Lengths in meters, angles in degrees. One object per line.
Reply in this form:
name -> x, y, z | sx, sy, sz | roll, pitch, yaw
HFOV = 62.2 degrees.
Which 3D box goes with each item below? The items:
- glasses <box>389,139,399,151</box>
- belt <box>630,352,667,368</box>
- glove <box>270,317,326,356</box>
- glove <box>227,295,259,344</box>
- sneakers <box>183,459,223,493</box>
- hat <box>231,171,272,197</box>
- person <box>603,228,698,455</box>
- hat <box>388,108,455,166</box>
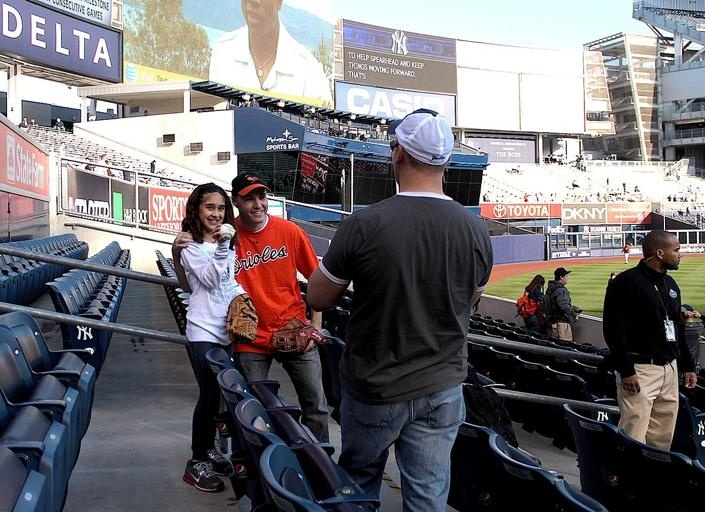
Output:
glasses -> 0.177, -0.476, 2.501 | 0.037, 0.048, 0.017 | 2, 7, 19
belt -> 1.998, 0.695, 3.942 | 0.262, 0.082, 0.032 | 1, 6, 1
glove -> -0.333, 0.454, 3.344 | 0.177, 0.105, 0.235 | 1, 3, 10
glove -> -0.609, 0.347, 3.296 | 0.187, 0.233, 0.100 | 4, -10, -27
sneakers -> -0.853, 1.243, 3.350 | 0.282, 0.115, 0.114 | 3, 0, 41
hat -> -0.641, -0.425, 3.507 | 0.219, 0.156, 0.346 | -12, 3, -21
person -> 1.985, 0.587, 4.036 | 0.606, 1.497, 0.341 | -2, 6, -29
hat -> 0.290, -0.509, 2.484 | 0.202, 0.146, 0.283 | 0, 36, -14
